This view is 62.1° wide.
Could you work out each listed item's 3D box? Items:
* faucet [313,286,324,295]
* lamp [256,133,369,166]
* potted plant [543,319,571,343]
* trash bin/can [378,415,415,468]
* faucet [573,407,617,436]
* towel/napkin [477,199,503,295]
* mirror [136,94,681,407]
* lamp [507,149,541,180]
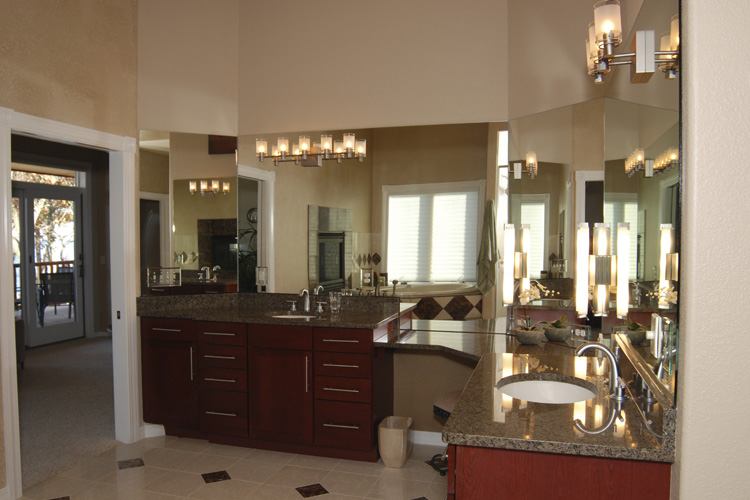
[{"bbox_3d":[-0.521,0.377,5.796,0.120,0.092,0.045,-6,-6,34],"label":"faucet"},{"bbox_3d":[-0.648,-0.967,6.162,1.103,0.381,1.131,3,12,23],"label":"lamp"},{"bbox_3d":[1.462,0.653,5.004,0.172,0.122,0.177,1,2,5],"label":"potted plant"},{"bbox_3d":[0.195,1.590,5.242,0.276,0.365,0.511,-1,-2,11],"label":"trash bin/can"},{"bbox_3d":[1.265,0.952,3.457,0.354,0.055,0.153,-4,9,-29],"label":"faucet"},{"bbox_3d":[0.980,-0.028,5.323,0.183,0.786,0.091,2,8,11],"label":"towel/napkin"},{"bbox_3d":[0.756,-0.314,4.942,1.231,1.675,3.597,-7,11,-43],"label":"mirror"},{"bbox_3d":[1.227,-0.685,5.129,0.075,0.218,0.331,-3,9,-25],"label":"lamp"}]
